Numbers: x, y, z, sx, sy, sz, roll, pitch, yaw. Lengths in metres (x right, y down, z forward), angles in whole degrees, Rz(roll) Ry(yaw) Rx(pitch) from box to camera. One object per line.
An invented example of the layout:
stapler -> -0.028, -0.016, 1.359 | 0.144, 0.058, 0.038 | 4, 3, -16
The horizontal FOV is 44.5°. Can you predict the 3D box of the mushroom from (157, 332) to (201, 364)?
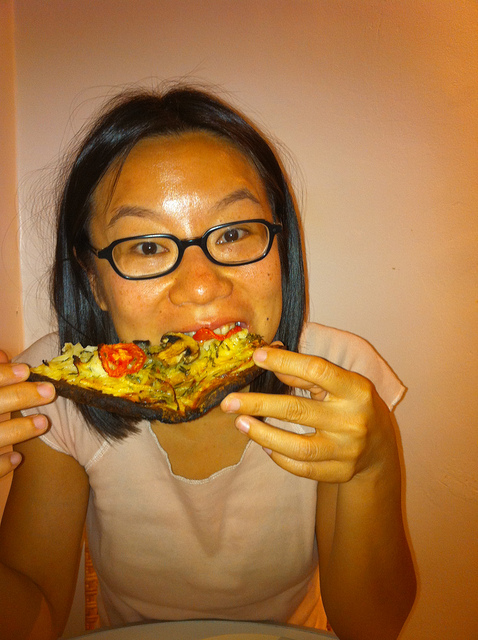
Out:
mushroom -> -0.192, 0.095, 1.891 | 0.124, 0.088, 0.041 | -27, -16, -9
